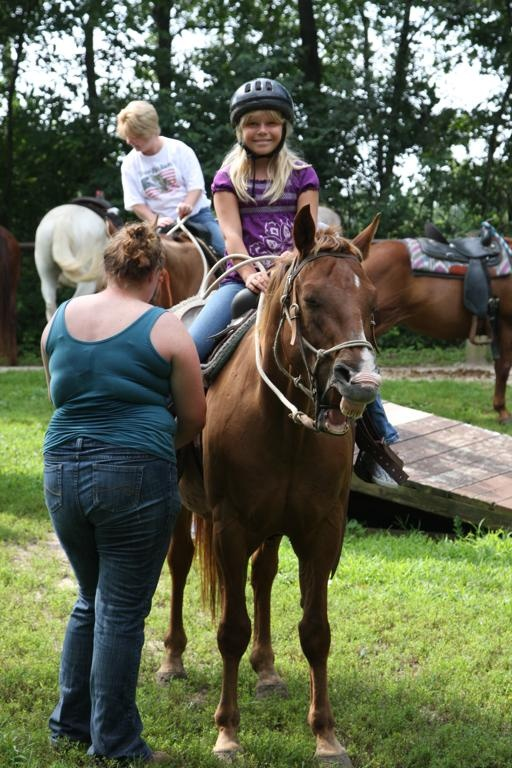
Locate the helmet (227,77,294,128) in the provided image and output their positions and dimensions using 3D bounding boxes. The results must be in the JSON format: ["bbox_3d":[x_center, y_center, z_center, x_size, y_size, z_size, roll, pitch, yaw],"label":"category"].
[{"bbox_3d":[0.020,-1.386,4.374,0.232,0.208,0.282,-3,-10,3],"label":"helmet"}]

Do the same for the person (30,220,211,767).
[{"bbox_3d":[-0.548,0.592,3.534,0.677,1.890,0.552,-1,13,-4],"label":"person"}]

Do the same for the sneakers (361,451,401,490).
[{"bbox_3d":[0.655,0.485,4.858,0.108,0.114,0.309,3,13,-45],"label":"sneakers"}]
